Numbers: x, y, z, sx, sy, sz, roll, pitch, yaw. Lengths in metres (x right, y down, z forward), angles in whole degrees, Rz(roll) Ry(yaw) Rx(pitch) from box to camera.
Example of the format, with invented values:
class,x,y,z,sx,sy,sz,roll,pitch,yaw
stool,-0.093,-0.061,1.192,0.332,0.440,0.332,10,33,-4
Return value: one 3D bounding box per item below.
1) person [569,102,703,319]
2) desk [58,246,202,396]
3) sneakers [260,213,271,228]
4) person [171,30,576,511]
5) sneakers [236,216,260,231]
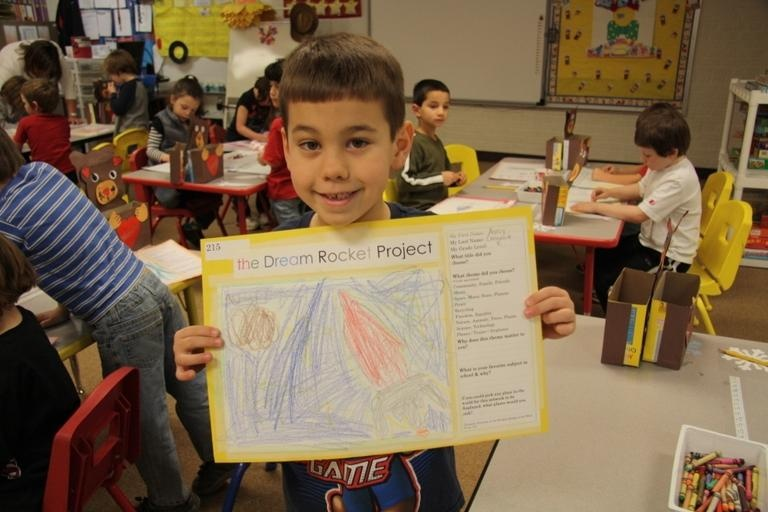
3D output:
class,x,y,z,sx,sy,sz,roll,pitch,yaw
person,1.531,-0.246,3.206,0.617,1.196,0.571,11,22,30
desk,-0.959,0.231,2.065,0.433,0.314,0.618,4,17,21
sneakers,-1.131,-0.339,5.168,0.129,0.086,0.183,10,8,-24
person,-0.033,0.098,1.459,1.007,1.291,0.364,-2,19,-6
sneakers,-1.253,-0.289,5.035,0.114,0.164,0.256,0,0,-1
